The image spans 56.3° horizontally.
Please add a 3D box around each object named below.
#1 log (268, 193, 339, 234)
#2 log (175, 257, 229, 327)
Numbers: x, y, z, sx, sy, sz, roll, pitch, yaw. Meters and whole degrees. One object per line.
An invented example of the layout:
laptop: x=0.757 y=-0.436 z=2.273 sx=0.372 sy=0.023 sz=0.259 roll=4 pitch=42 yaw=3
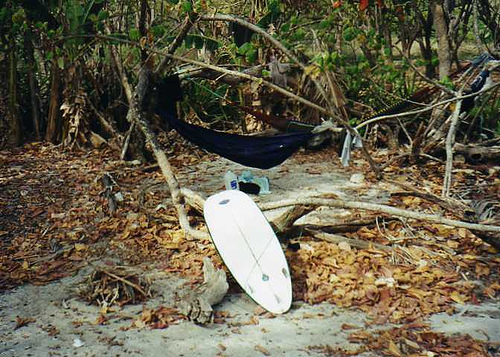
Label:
log: x=0.706 y=0.585 z=7.516 sx=0.762 sy=0.609 sz=0.296 roll=1 pitch=13 yaw=2
log: x=-0.655 y=1.624 z=6.591 sx=0.566 sy=0.289 sz=0.796 roll=-5 pitch=45 yaw=-31
